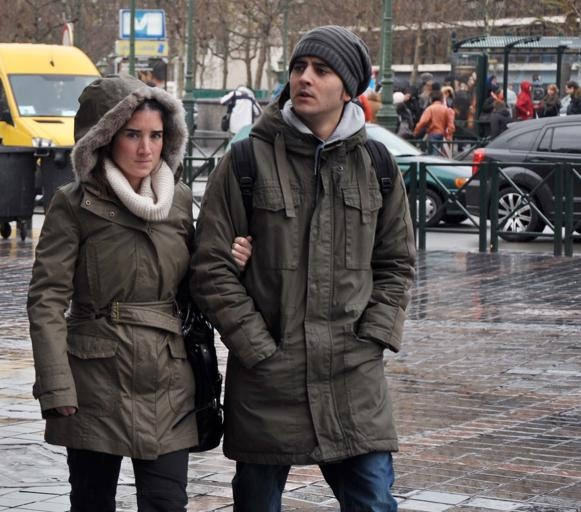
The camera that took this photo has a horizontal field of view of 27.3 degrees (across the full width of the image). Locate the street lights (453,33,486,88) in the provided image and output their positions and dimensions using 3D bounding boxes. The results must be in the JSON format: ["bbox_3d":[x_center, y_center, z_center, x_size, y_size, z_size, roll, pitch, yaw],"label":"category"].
[{"bbox_3d":[4.096,-4.679,27.786,0.786,1.404,0.822,7,48,12],"label":"street lights"}]

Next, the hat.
[{"bbox_3d":[0.130,-0.718,4.615,0.312,0.273,0.372,-2,1,11],"label":"hat"}]

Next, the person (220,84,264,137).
[{"bbox_3d":[-1.095,-3.141,26.056,0.986,0.961,0.594,9,-2,-21],"label":"person"}]
